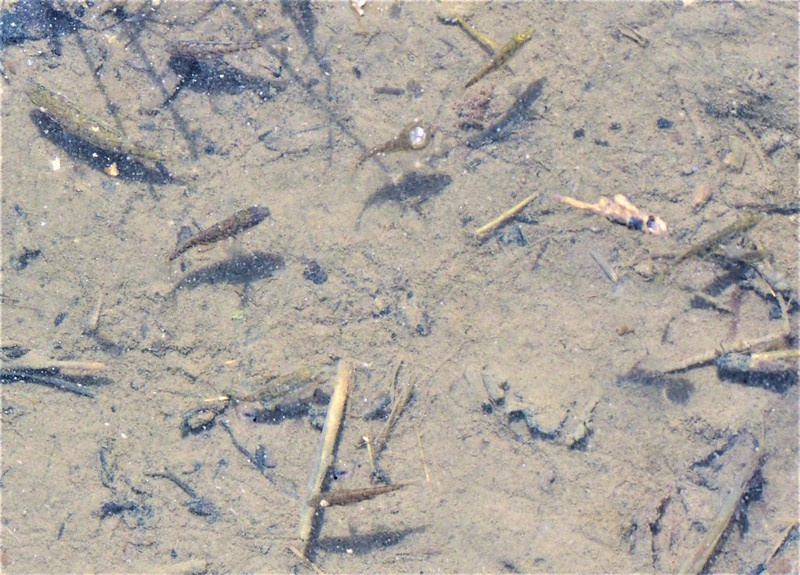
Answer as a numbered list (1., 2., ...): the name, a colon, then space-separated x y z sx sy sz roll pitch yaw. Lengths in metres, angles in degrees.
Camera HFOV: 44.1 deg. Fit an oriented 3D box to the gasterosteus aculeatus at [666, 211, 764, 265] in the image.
1. gasterosteus aculeatus: 4.777 -0.729 14.813 1.485 0.201 0.208 -27 77 -8
